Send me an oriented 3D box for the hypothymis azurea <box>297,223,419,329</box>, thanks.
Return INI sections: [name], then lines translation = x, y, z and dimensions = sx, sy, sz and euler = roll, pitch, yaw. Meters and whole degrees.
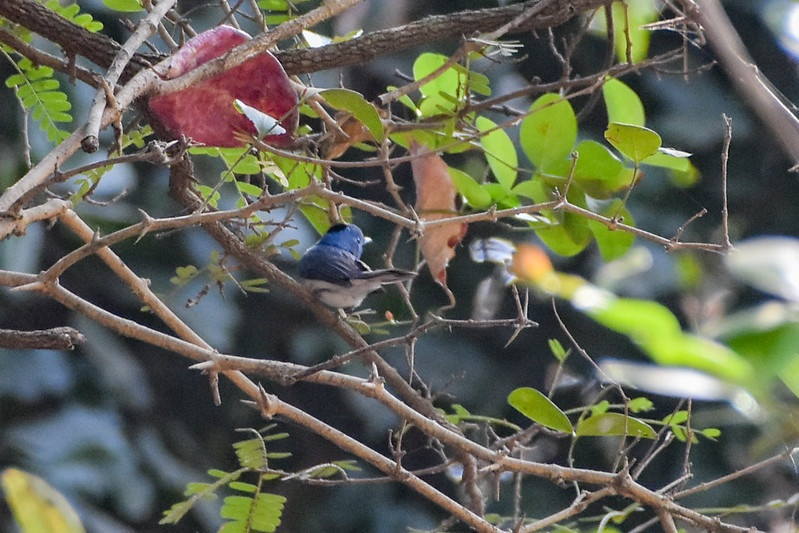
[hypothymis azurea]
translation = -0.197, 0.003, 4.293
dimensions = 0.640, 0.337, 0.439
euler = -13, 59, 55
